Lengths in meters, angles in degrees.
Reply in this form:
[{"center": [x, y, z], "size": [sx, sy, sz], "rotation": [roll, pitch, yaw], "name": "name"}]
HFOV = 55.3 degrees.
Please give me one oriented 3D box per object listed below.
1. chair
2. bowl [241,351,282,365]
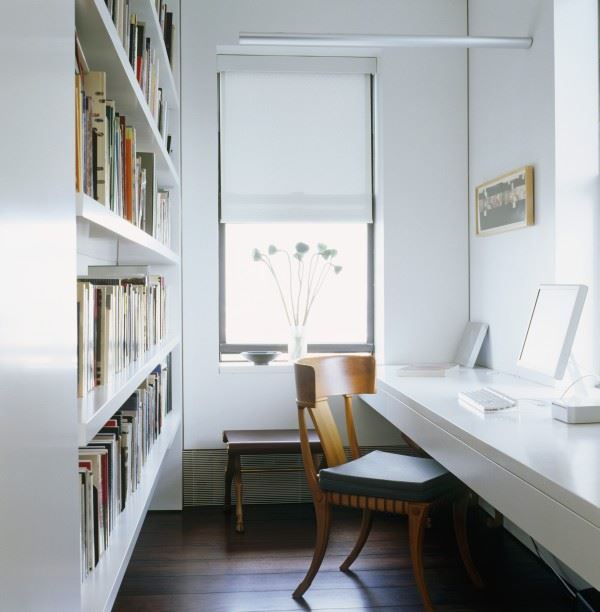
[{"center": [0.388, 0.613, 2.491], "size": [0.709, 1.299, 0.650], "rotation": [-4, -4, 32], "name": "chair"}, {"center": [-0.207, 0.280, 3.090], "size": [0.188, 0.071, 0.070], "rotation": [-1, 1, -4], "name": "bowl"}]
